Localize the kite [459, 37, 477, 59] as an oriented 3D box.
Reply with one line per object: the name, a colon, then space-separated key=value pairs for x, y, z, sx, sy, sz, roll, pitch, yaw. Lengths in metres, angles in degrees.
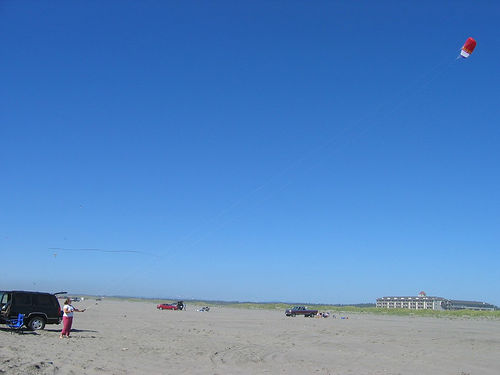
kite: x=14.191 y=-8.896 z=26.562 sx=0.834 sy=1.424 sz=1.356 roll=-8 pitch=-19 yaw=32

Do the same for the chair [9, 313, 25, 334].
chair: x=-13.437 y=7.859 z=23.541 sx=0.752 sy=1.057 sz=1.636 roll=10 pitch=-18 yaw=-27

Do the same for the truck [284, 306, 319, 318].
truck: x=9.051 y=22.809 z=73.366 sx=4.632 sy=1.588 sz=2.633 roll=1 pitch=-14 yaw=7

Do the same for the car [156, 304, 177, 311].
car: x=-18.445 y=26.495 z=88.899 sx=3.390 sy=0.857 sz=1.920 roll=1 pitch=-12 yaw=18
